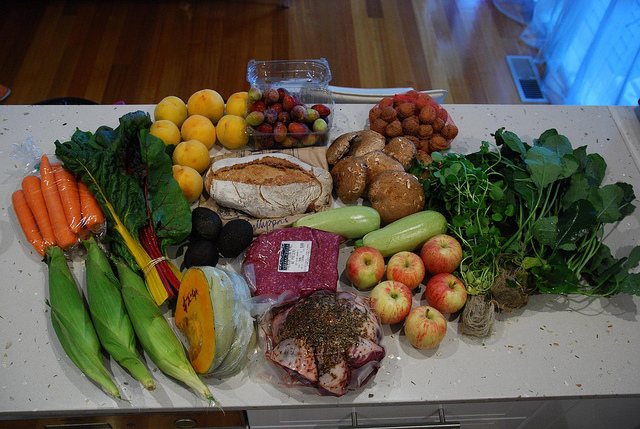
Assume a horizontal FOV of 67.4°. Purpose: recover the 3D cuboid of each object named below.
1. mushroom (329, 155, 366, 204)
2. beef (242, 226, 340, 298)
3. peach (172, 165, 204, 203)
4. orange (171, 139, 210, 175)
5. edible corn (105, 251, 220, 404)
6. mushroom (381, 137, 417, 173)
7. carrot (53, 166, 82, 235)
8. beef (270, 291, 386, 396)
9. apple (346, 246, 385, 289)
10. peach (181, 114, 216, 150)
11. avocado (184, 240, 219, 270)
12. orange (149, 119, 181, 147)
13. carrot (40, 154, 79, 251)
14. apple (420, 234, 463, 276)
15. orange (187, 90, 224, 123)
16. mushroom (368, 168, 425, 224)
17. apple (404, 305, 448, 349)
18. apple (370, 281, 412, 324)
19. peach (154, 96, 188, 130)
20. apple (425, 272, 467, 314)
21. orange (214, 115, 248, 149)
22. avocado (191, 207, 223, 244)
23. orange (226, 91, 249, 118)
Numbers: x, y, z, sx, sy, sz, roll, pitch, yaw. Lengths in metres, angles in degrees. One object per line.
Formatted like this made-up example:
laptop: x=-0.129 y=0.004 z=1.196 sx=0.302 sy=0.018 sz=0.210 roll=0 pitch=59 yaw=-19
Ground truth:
mushroom: x=0.131 y=-0.152 z=2.077 sx=0.122 sy=0.187 sz=0.150 roll=-31 pitch=46 yaw=-33
beef: x=-0.112 y=0.185 z=1.910 sx=0.372 sy=0.083 sz=0.260 roll=-1 pitch=54 yaw=-2
peach: x=-0.559 y=-0.170 z=2.031 sx=0.110 sy=0.093 sz=0.097 roll=25 pitch=53 yaw=15
orange: x=-0.544 y=-0.251 z=2.074 sx=0.137 sy=0.136 sz=0.146 roll=7 pitch=97 yaw=11
edible corn: x=-0.614 y=0.445 z=1.793 sx=0.116 sy=0.131 sz=0.636 roll=-31 pitch=61 yaw=-22
mushroom: x=0.353 y=-0.265 z=2.117 sx=0.128 sy=0.077 sz=0.155 roll=-28 pitch=84 yaw=4
carrot: x=-1.020 y=-0.059 z=1.969 sx=0.085 sy=0.242 sz=0.157 roll=-7 pitch=34 yaw=-9
beef: x=0.020 y=0.478 z=1.760 sx=0.398 sy=0.147 sz=0.317 roll=-8 pitch=55 yaw=-7
apple: x=0.177 y=0.202 z=1.883 sx=0.137 sy=0.139 sz=0.148 roll=5 pitch=65 yaw=3
peach: x=-0.520 y=-0.361 z=2.178 sx=0.114 sy=0.103 sz=0.116 roll=-25 pitch=97 yaw=-48
avocado: x=-0.468 y=0.160 z=1.968 sx=0.108 sy=0.116 sz=0.143 roll=-3 pitch=64 yaw=7
orange: x=-0.674 y=-0.347 z=2.117 sx=0.105 sy=0.113 sz=0.108 roll=24 pitch=38 yaw=6
carrot: x=-1.082 y=-0.046 z=2.016 sx=0.100 sy=0.108 sz=0.488 roll=-20 pitch=78 yaw=15
apple: x=0.483 y=0.175 z=1.931 sx=0.156 sy=0.130 sz=0.145 roll=-36 pitch=61 yaw=-24
orange: x=-0.517 y=-0.504 z=2.185 sx=0.133 sy=0.133 sz=0.137 roll=0 pitch=46 yaw=-2
mushroom: x=0.317 y=-0.072 z=2.008 sx=0.228 sy=0.155 sz=0.158 roll=10 pitch=54 yaw=7
apple: x=0.394 y=0.435 z=1.829 sx=0.147 sy=0.118 sz=0.124 roll=9 pitch=53 yaw=6
apple: x=0.275 y=0.350 z=1.903 sx=0.141 sy=0.145 sz=0.153 roll=10 pitch=70 yaw=4
peach: x=-0.702 y=-0.482 z=2.199 sx=0.117 sy=0.117 sz=0.150 roll=9 pitch=89 yaw=12
apple: x=0.488 y=0.317 z=1.881 sx=0.146 sy=0.121 sz=0.138 roll=-27 pitch=58 yaw=-19
orange: x=-0.393 y=-0.372 z=2.207 sx=0.134 sy=0.139 sz=0.139 roll=9 pitch=16 yaw=-43
avocado: x=-0.462 y=0.041 z=1.944 sx=0.109 sy=0.074 sz=0.147 roll=-5 pitch=77 yaw=-15
orange: x=-0.355 y=-0.501 z=2.236 sx=0.124 sy=0.126 sz=0.129 roll=11 pitch=12 yaw=24
